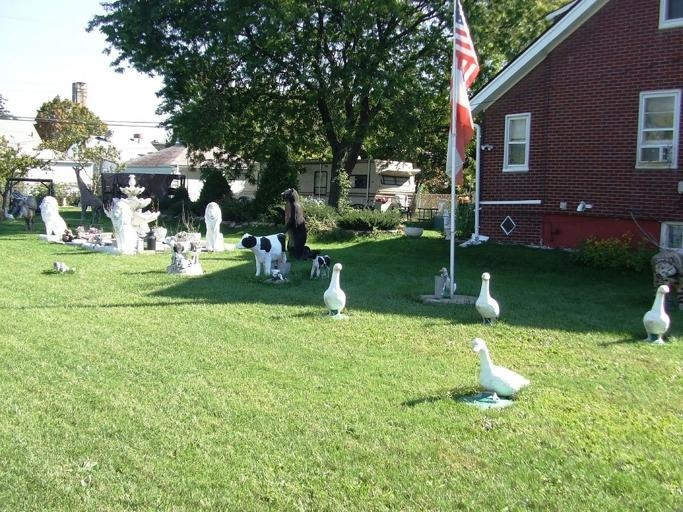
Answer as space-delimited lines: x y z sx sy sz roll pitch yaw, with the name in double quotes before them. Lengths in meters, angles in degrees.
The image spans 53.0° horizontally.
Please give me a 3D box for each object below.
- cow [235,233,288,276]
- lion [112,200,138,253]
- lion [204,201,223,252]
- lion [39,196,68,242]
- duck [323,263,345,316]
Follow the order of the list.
"cow" -1.875 -0.045 16.496 0.529 1.038 1.573 2 10 40
"lion" -6.454 -0.922 20.261 0.748 1.569 1.284 -3 10 -18
"lion" -3.954 -0.961 21.136 0.545 1.587 2.218 -2 10 -11
"lion" -10.101 -1.377 23.827 0.734 1.494 2.878 -4 11 -24
"duck" -0.138 0.563 12.302 0.371 0.979 0.580 0 10 -2
